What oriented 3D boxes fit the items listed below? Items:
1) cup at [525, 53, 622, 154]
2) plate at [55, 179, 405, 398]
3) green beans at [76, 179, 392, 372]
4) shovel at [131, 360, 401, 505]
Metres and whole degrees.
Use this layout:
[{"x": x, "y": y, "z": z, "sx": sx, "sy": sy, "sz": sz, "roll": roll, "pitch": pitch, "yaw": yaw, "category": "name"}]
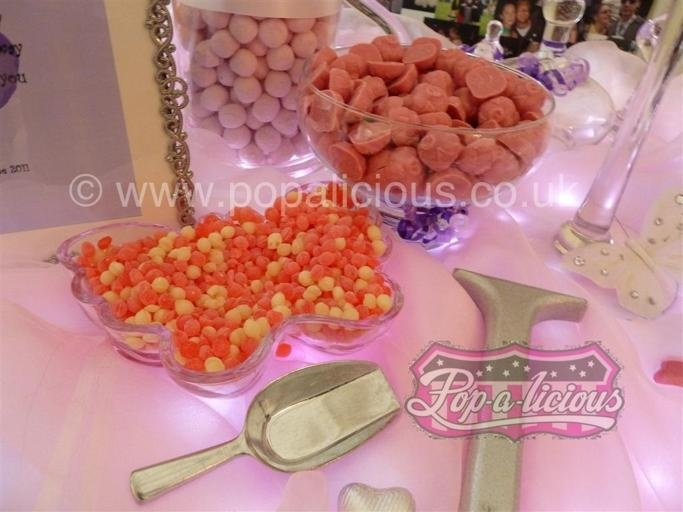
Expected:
[{"x": 0.439, "y": -0.299, "z": 1.105, "sx": 0.180, "sy": 0.219, "sz": 0.126, "roll": -10, "pitch": 25, "yaw": -21, "category": "cup"}, {"x": -0.132, "y": 0.029, "z": 0.754, "sx": 0.479, "sy": 0.074, "sz": 0.311, "roll": -16, "pitch": 52, "yaw": -16, "category": "plate"}, {"x": -0.144, "y": 0.024, "z": 0.745, "sx": 0.320, "sy": 0.102, "sz": 0.233, "roll": -15, "pitch": 40, "yaw": -19, "category": "green beans"}, {"x": -0.085, "y": 0.211, "z": 0.627, "sx": 0.311, "sy": 0.035, "sz": 0.122, "roll": -19, "pitch": 39, "yaw": -17, "category": "shovel"}]
